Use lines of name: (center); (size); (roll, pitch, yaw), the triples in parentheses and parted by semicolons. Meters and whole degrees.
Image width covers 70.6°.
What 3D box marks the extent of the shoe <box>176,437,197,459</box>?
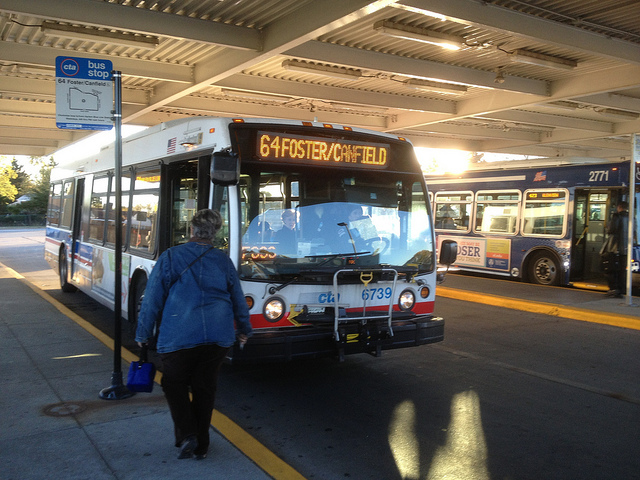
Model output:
shoe: (-1.204, 1.881, 4.101); (0.153, 0.222, 0.098); (1, 3, -18)

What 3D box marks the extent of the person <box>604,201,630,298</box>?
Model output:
person: (8.822, 0.294, 13.451); (0.476, 2.757, 0.816); (5, 3, 37)

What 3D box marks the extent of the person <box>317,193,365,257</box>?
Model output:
person: (0.197, -0.194, 5.933); (0.912, 0.698, 0.204); (-2, -7, -27)

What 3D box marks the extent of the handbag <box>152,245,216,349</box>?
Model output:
handbag: (-1.210, 0.528, 4.033); (0.149, 1.057, 0.124); (32, -15, 2)
